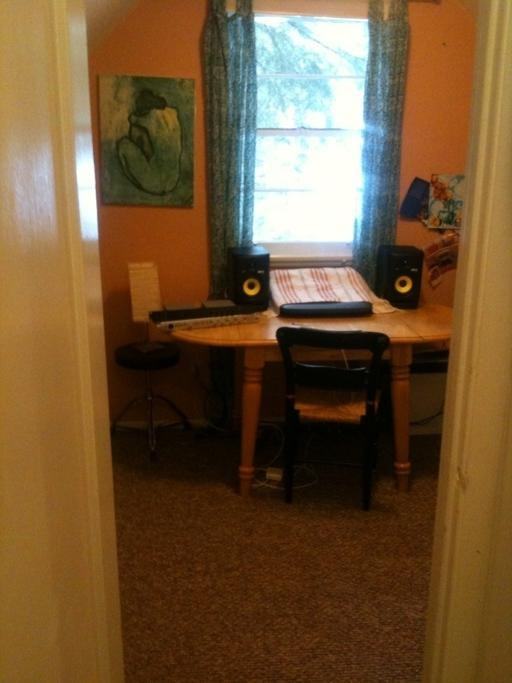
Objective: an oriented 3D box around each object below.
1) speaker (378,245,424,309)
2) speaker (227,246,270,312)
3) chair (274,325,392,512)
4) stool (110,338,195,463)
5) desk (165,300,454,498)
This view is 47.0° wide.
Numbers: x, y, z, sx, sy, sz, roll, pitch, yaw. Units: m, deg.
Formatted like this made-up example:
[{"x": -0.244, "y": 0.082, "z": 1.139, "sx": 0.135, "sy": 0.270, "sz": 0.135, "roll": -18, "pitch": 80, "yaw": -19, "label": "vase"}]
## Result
[{"x": 0.751, "y": -0.335, "z": 3.082, "sx": 0.170, "sy": 0.307, "sz": 0.207, "roll": -1, "pitch": 14, "yaw": -6, "label": "speaker"}, {"x": 0.010, "y": -0.322, "z": 2.974, "sx": 0.188, "sy": 0.301, "sz": 0.255, "roll": -5, "pitch": 13, "yaw": 11, "label": "speaker"}, {"x": 0.349, "y": 0.266, "z": 2.747, "sx": 0.486, "sy": 0.812, "sz": 0.756, "roll": 2, "pitch": 14, "yaw": 9, "label": "chair"}, {"x": -0.547, "y": 0.268, "z": 3.083, "sx": 0.317, "sy": 0.399, "sz": 0.302, "roll": 8, "pitch": 14, "yaw": 34, "label": "stool"}, {"x": 0.353, "y": 0.326, "z": 2.909, "sx": 1.378, "sy": 0.697, "sz": 0.732, "roll": -1, "pitch": -2, "yaw": 10, "label": "desk"}]
